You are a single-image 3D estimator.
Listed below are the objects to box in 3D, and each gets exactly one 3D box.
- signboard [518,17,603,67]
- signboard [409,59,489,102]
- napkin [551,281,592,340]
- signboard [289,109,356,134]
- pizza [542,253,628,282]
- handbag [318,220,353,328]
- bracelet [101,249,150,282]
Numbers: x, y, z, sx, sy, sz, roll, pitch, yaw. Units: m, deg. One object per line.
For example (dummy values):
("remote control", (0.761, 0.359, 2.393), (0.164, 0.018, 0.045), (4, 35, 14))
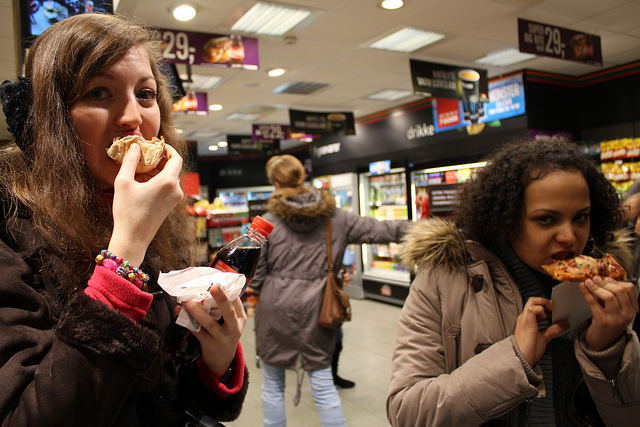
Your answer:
("signboard", (2.725, -1.940, 5.236), (1.397, 0.375, 0.103), (-3, 3, -27))
("signboard", (1.768, -1.776, 6.194), (1.599, 0.510, 0.167), (-4, 3, -40))
("napkin", (1.012, 0.364, 1.852), (0.232, 0.200, 0.057), (-3, 3, -29))
("signboard", (0.038, -1.778, 8.845), (1.479, 0.491, 0.266), (-3, 3, -33))
("pizza", (1.099, 0.220, 1.870), (0.239, 0.046, 0.154), (-4, 15, -4))
("handbag", (0.111, 0.474, 3.710), (0.243, 0.842, 0.352), (-1, 3, 6))
("bracelet", (-0.599, 0.157, 1.439), (0.120, 0.038, 0.098), (44, -5, -40))
